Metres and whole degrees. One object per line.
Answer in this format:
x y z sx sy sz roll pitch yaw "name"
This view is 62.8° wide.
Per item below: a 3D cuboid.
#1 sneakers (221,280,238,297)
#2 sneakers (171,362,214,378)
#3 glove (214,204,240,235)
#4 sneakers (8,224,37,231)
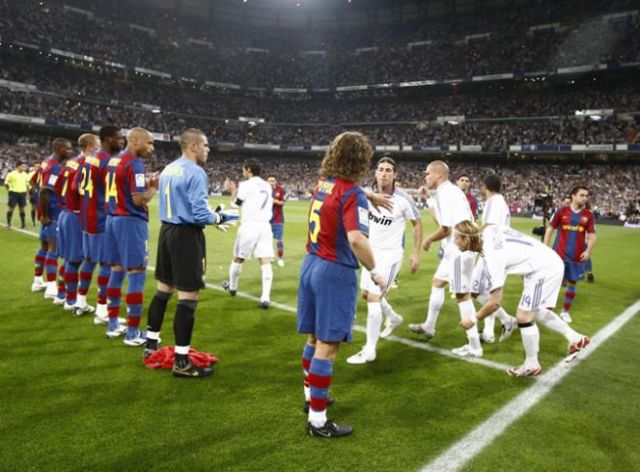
-1.676 0.959 9.634 0.139 0.170 0.381 -2 11 -27 "sneakers"
-1.559 1.634 6.426 0.365 0.147 0.192 1 -6 -10 "sneakers"
-1.159 -0.201 6.745 0.378 0.384 0.157 -2 -20 -32 "glove"
-9.227 -0.267 16.243 0.557 0.243 0.175 -4 -1 12 "sneakers"
